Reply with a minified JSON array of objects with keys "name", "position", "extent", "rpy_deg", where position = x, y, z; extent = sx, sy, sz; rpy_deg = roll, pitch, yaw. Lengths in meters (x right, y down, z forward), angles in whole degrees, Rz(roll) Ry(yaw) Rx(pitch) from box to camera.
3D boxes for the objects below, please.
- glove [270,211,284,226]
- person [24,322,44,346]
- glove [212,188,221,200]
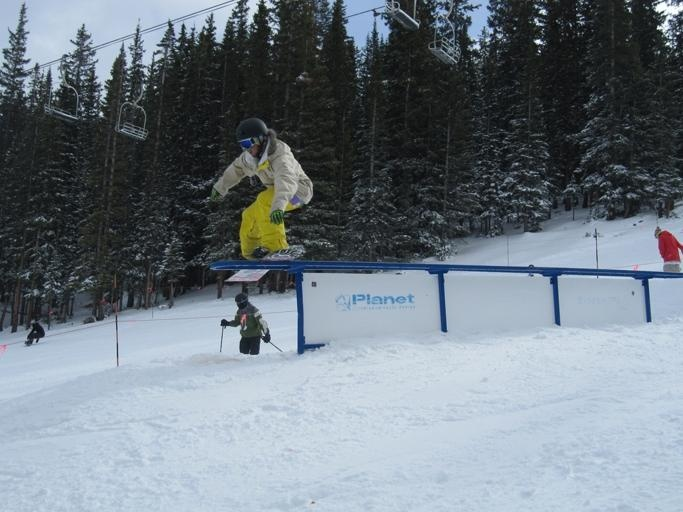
[{"name":"glove","position":[-2.855,-1.659,37.584],"extent":[0.573,0.573,0.271],"rpy_deg":[1,-2,20]},{"name":"person","position":[-18.401,4.611,51.006],"extent":[1.056,1.289,3.635],"rpy_deg":[-3,-2,-21]},{"name":"glove","position":[-5.744,-2.763,38.618],"extent":[0.337,0.491,0.158],"rpy_deg":[-5,-7,2]}]
